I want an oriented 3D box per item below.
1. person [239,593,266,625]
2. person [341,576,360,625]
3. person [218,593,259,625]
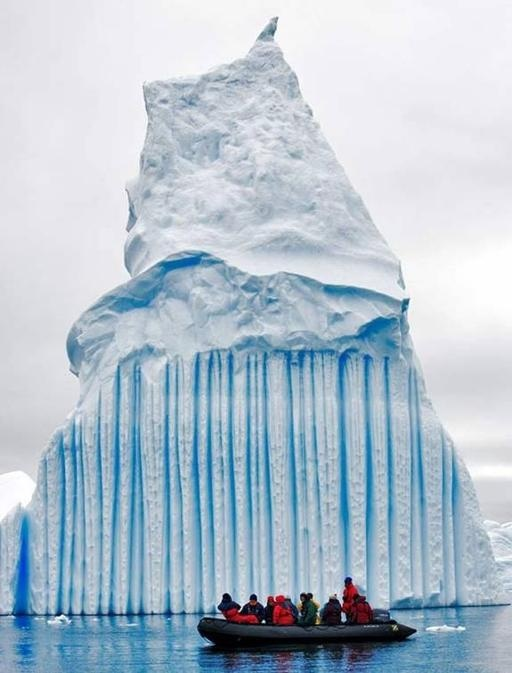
[{"bbox_3d":[-0.040,7.338,61.745,0.597,1.348,0.702,0,-13,0],"label":"person"},{"bbox_3d":[2.641,7.226,62.919,0.374,1.282,0.368,-6,17,-24],"label":"person"},{"bbox_3d":[-0.568,7.438,61.512,0.983,0.529,0.659,35,27,31],"label":"person"}]
